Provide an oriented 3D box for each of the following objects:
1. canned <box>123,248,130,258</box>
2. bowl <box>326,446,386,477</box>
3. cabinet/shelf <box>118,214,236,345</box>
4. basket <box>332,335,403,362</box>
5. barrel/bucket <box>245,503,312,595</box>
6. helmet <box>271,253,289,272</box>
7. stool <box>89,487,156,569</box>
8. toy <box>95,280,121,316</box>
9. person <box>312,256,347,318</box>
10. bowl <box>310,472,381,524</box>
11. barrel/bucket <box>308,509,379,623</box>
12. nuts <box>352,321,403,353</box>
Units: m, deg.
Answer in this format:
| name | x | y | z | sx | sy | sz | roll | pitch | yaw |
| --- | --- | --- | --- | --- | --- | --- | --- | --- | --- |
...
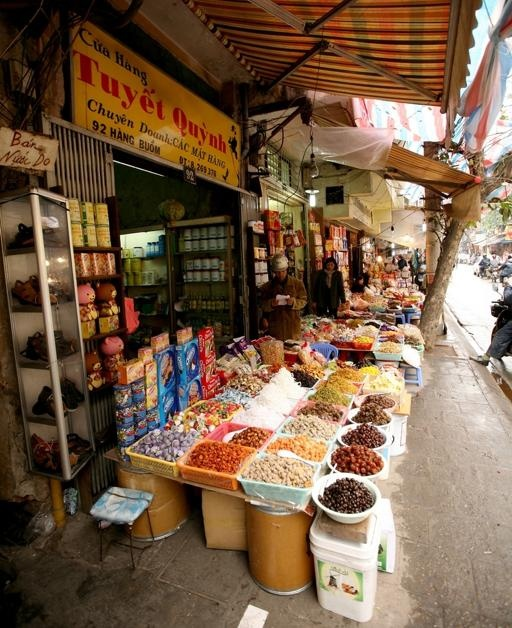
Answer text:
| name | x | y | z | sx | sy | sz | roll | pitch | yaw |
| --- | --- | --- | --- | --- | --- | --- | --- | --- | --- |
| canned | -1.962 | -0.921 | 6.833 | 0.144 | 0.143 | 0.138 | 1 | 0 | -26 |
| bowl | 0.631 | 0.852 | 2.801 | 0.406 | 0.109 | 0.393 | 3 | 7 | 0 |
| cabinet/shelf | -0.954 | -0.543 | 6.486 | 1.970 | 1.615 | 0.786 | 2 | 10 | 19 |
| basket | 1.371 | 0.460 | 5.609 | 0.794 | 0.270 | 0.811 | 3 | 5 | 13 |
| barrel/bucket | 0.139 | 1.314 | 2.559 | 0.375 | 0.528 | 0.195 | -2 | 13 | 3 |
| helmet | 0.308 | -0.634 | 5.666 | 0.208 | 0.236 | 0.266 | -2 | 12 | 1 |
| stool | -0.826 | 1.356 | 2.808 | 0.425 | 0.452 | 0.481 | 6 | 9 | 0 |
| toy | -1.077 | -0.126 | 3.272 | 0.229 | 0.321 | 0.243 | 1 | 7 | -6 |
| person | 1.342 | -0.499 | 7.973 | 0.506 | 1.098 | 0.517 | 5 | 7 | 24 |
| bowl | 0.465 | 0.984 | 2.408 | 0.254 | 0.100 | 0.248 | -2 | 6 | 0 |
| barrel/bucket | 0.477 | 1.333 | 2.419 | 0.363 | 0.551 | 0.230 | 1 | 13 | 14 |
| nuts | 1.586 | 0.291 | 5.822 | 0.589 | 0.344 | 0.669 | 0 | 5 | 23 |
